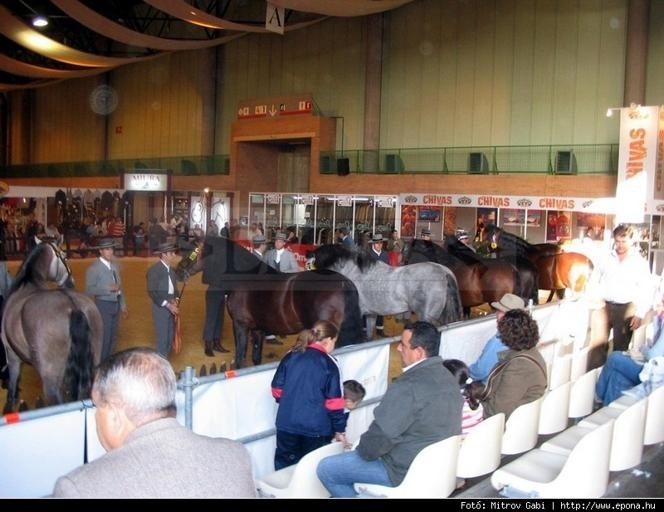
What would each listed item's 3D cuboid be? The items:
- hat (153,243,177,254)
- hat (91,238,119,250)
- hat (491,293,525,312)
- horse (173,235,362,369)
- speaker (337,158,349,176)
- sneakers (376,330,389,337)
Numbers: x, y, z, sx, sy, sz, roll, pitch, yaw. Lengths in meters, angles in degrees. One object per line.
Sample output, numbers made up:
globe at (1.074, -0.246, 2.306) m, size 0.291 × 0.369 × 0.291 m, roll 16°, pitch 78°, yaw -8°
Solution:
hat at (-2.088, -0.099, 6.650) m, size 0.226 × 0.136 × 0.287 m, roll -3°, pitch 6°, yaw -17°
hat at (-4.220, -0.234, 9.750) m, size 0.383 × 0.120 × 0.364 m, roll 2°, pitch 7°, yaw 17°
hat at (1.703, 0.461, 5.201) m, size 0.299 × 0.114 × 0.276 m, roll 16°, pitch 16°, yaw 38°
horse at (-0.850, 0.667, 6.911) m, size 2.696 × 1.762 × 0.682 m, roll 4°, pitch 6°, yaw 18°
speaker at (0.430, -3.627, 21.582) m, size 0.456 × 0.697 × 0.545 m, roll -1°, pitch 5°, yaw -2°
sneakers at (0.873, 1.343, 9.171) m, size 0.226 × 0.165 × 0.093 m, roll -3°, pitch 4°, yaw -7°
